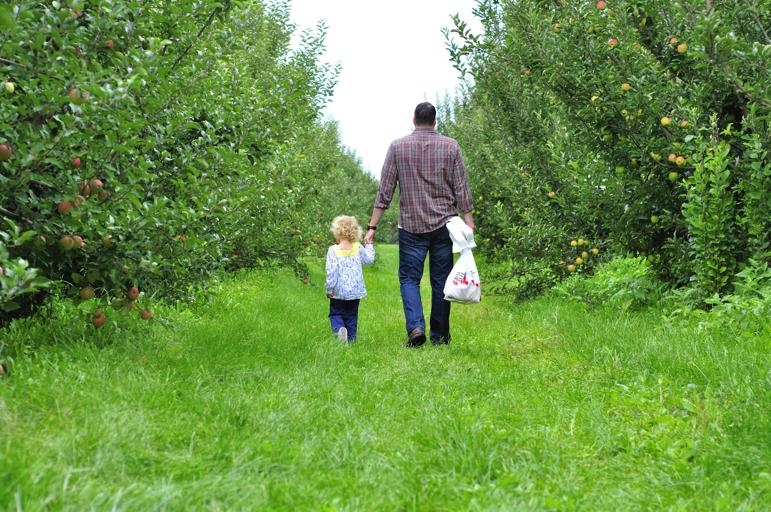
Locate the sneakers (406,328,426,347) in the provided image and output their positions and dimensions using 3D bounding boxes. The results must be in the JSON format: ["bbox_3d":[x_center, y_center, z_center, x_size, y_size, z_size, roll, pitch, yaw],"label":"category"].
[{"bbox_3d":[0.317,0.843,6.843,0.194,0.203,0.168,3,9,1],"label":"sneakers"}]

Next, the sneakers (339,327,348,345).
[{"bbox_3d":[-0.453,0.851,7.059,0.064,0.194,0.077,1,-18,-8],"label":"sneakers"}]

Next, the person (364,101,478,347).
[{"bbox_3d":[0.397,-0.347,6.958,0.962,2.508,0.634,3,9,4],"label":"person"}]
